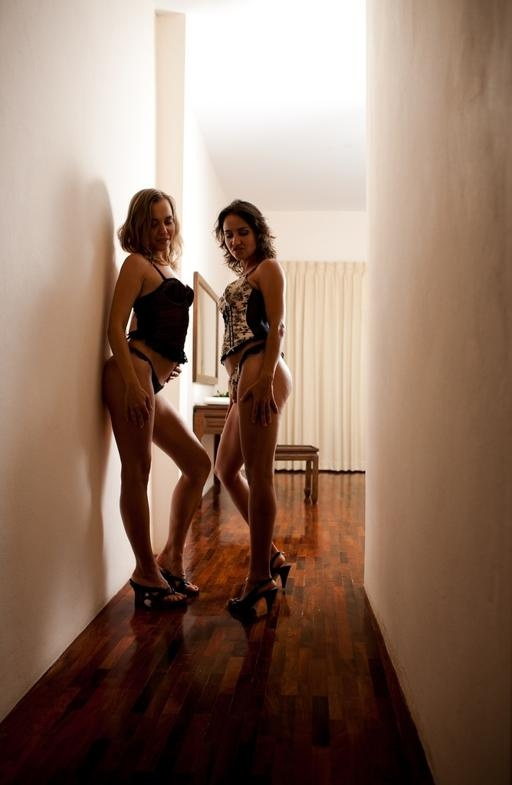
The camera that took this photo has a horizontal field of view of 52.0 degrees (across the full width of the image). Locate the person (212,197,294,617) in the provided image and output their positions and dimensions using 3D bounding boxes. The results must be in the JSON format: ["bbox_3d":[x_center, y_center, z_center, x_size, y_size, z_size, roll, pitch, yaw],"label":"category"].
[{"bbox_3d":[-0.002,0.019,2.127,0.310,1.617,0.461,1,-4,-15],"label":"person"}]

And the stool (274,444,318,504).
[{"bbox_3d":[0.371,0.715,4.746,0.347,0.552,0.418,-1,-7,2],"label":"stool"}]

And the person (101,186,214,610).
[{"bbox_3d":[-0.396,0.007,2.089,0.269,1.621,0.478,-3,-5,39],"label":"person"}]
